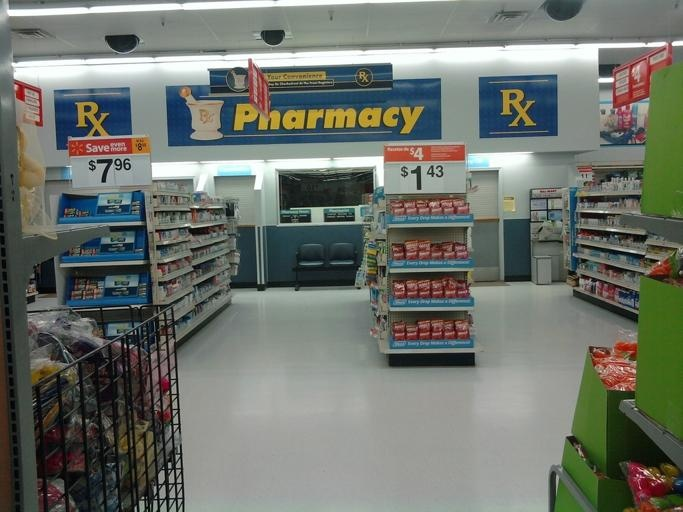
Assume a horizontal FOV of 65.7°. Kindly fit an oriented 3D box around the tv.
[{"bbox_3d":[-0.305,-1.367,10.675,1.875,0.769,0.353,-1,6,8],"label":"tv"}]

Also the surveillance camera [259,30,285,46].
[{"bbox_3d":[-1.135,-3.642,8.805,0.426,0.176,0.322,-2,6,-6],"label":"surveillance camera"}]

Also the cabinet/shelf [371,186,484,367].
[{"bbox_3d":[0.839,0.205,5.570,1.045,1.729,0.848,-1,6,2],"label":"cabinet/shelf"}]

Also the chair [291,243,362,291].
[{"bbox_3d":[-0.297,0.176,10.499,1.306,0.874,0.782,-2,6,1],"label":"chair"}]
